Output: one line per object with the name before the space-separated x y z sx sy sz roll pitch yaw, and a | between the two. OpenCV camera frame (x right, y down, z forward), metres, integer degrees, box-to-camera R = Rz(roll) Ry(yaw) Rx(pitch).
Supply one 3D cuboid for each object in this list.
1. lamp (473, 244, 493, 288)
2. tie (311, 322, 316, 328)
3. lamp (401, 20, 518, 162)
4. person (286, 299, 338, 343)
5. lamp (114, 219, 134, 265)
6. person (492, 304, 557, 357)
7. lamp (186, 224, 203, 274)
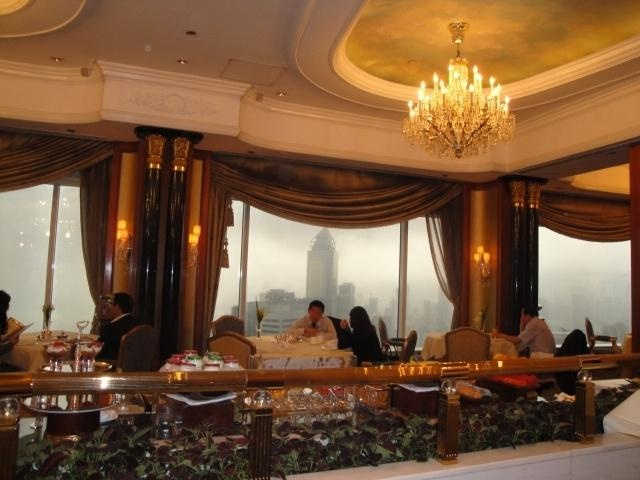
lamp | 3.097 0.464 9.345 0.354 0.746 0.150 -2 -9 21
tie | -0.092 1.212 6.939 0.066 0.062 0.015 0 -8 7
lamp | 1.733 -1.721 6.065 1.234 1.556 1.709 -2 -10 22
person | -0.082 1.174 6.839 0.600 0.827 0.514 1 -27 -1
lamp | -2.955 0.027 7.357 0.228 0.666 0.088 5 -9 -17
person | 2.962 1.607 7.049 0.786 1.206 0.519 -10 -22 30
lamp | -1.961 0.099 7.627 0.205 0.708 0.090 6 -9 -23
